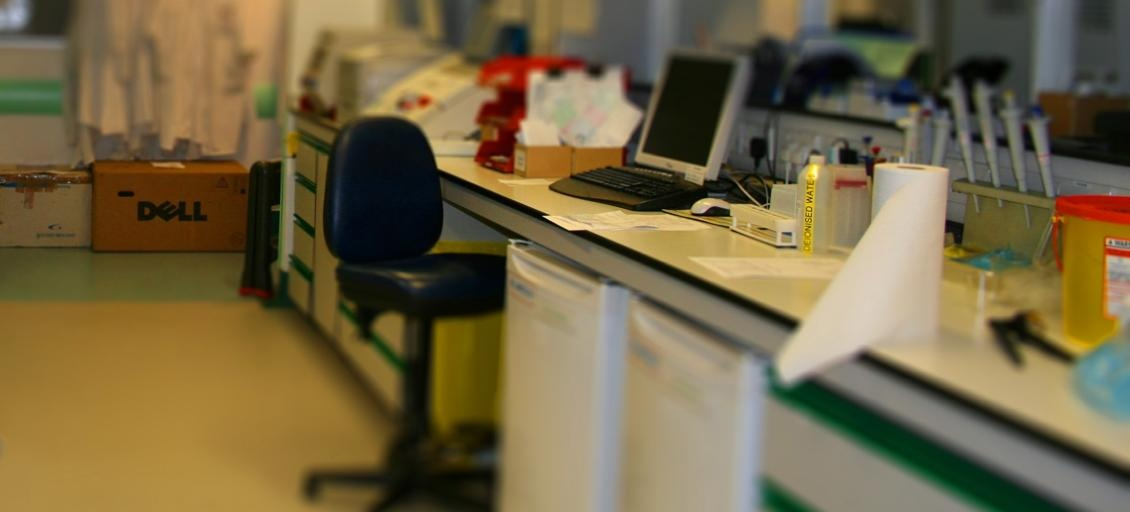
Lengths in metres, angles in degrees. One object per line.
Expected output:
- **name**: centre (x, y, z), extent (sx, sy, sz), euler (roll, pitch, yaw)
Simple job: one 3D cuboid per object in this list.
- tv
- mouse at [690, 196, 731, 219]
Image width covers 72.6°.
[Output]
- **tv**: centre (0.607, -0.663, 3.640), extent (0.263, 0.554, 0.655), euler (-9, 19, -21)
- **mouse**: centre (0.617, -0.203, 3.244), extent (0.135, 0.041, 0.078), euler (-4, 13, -21)
